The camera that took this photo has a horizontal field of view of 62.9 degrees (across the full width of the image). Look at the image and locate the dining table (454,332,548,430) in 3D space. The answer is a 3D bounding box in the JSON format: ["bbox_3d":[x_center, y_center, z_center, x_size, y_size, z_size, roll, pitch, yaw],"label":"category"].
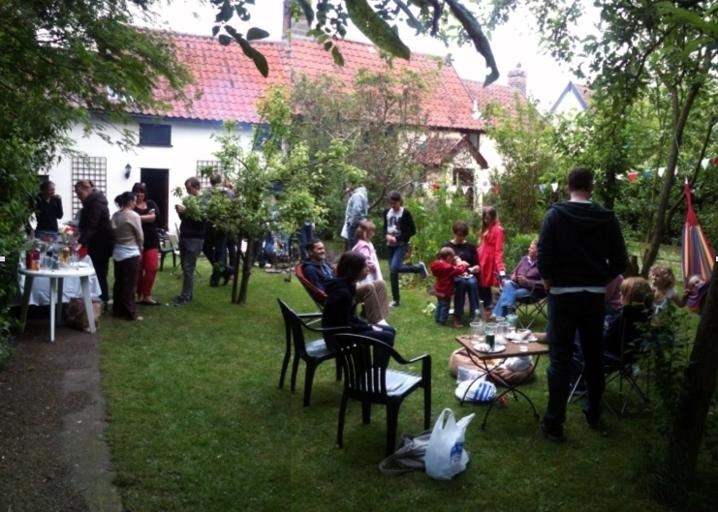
[{"bbox_3d":[1.607,1.426,6.677,0.953,0.773,0.985,-3,2,-18],"label":"dining table"}]

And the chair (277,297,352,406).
[{"bbox_3d":[-0.437,1.079,6.807,0.896,1.144,0.839,0,10,5],"label":"chair"}]

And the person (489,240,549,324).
[{"bbox_3d":[2.546,0.419,9.202,0.583,1.457,0.790,16,-6,46],"label":"person"}]

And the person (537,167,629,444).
[{"bbox_3d":[2.216,0.430,6.004,0.832,2.642,0.797,0,0,-9],"label":"person"}]

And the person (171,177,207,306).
[{"bbox_3d":[-3.056,-0.249,10.521,0.572,2.256,1.097,-3,14,-18],"label":"person"}]

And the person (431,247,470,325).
[{"bbox_3d":[1.482,0.499,9.846,0.501,1.224,0.445,-7,15,-32],"label":"person"}]

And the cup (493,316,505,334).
[{"bbox_3d":[1.613,0.815,6.718,0.184,0.199,0.132,0,2,42],"label":"cup"}]

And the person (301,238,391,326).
[{"bbox_3d":[-0.253,0.407,8.648,1.228,1.403,1.012,-8,6,16],"label":"person"}]

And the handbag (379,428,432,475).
[{"bbox_3d":[0.447,1.873,5.595,0.513,0.185,0.491,2,13,-1],"label":"handbag"}]

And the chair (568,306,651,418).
[{"bbox_3d":[2.921,1.204,6.769,0.673,0.846,0.704,8,2,4],"label":"chair"}]

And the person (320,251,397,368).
[{"bbox_3d":[-0.012,0.737,6.659,0.807,1.544,0.561,0,12,2],"label":"person"}]

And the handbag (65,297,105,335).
[{"bbox_3d":[-4.180,0.894,8.986,0.521,0.535,0.473,9,4,29],"label":"handbag"}]

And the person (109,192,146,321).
[{"bbox_3d":[-3.666,0.021,9.298,0.459,1.984,0.701,-8,16,-35],"label":"person"}]

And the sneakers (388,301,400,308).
[{"bbox_3d":[0.642,0.912,10.927,0.276,0.125,0.098,7,-8,-20],"label":"sneakers"}]

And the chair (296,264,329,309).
[{"bbox_3d":[-0.593,0.458,8.628,0.635,0.645,0.553,4,36,1],"label":"chair"}]

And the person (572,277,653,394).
[{"bbox_3d":[2.815,1.103,6.738,0.840,1.209,0.752,-21,-17,16],"label":"person"}]

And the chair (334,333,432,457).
[{"bbox_3d":[0.219,1.293,6.058,0.969,1.330,0.864,-12,14,-39],"label":"chair"}]

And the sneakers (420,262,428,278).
[{"bbox_3d":[1.229,0.277,11.127,0.148,0.143,0.396,-9,-28,12],"label":"sneakers"}]

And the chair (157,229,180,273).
[{"bbox_3d":[-4.561,-0.128,14.370,0.611,0.897,0.604,3,-8,-34],"label":"chair"}]

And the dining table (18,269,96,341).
[{"bbox_3d":[-4.340,0.678,8.715,0.926,1.141,1.060,6,8,39],"label":"dining table"}]

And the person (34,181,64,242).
[{"bbox_3d":[-5.408,-0.819,10.150,0.429,0.954,0.812,-4,14,-23],"label":"person"}]
